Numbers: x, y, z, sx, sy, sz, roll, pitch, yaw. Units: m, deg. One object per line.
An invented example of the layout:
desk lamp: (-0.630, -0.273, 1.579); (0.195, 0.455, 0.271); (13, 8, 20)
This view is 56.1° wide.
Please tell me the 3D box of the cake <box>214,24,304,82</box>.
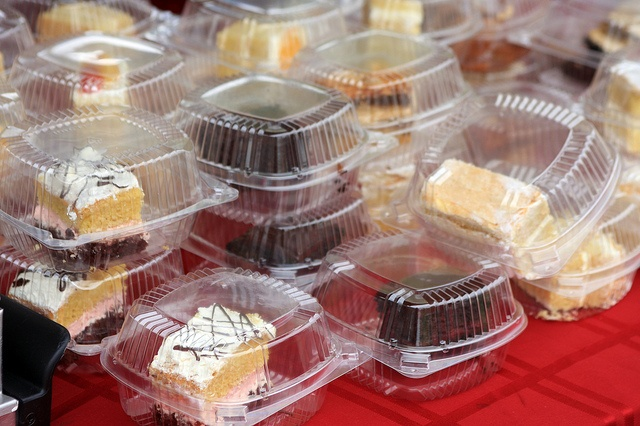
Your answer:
cake: (-0.242, -0.639, 2.311); (0.287, 0.204, 0.221); (9, 27, 22)

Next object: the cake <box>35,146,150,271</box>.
cake: (-0.608, -0.026, 1.588); (0.306, 0.186, 0.243); (11, 13, 32)

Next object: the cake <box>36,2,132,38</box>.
cake: (-0.945, -0.786, 2.418); (0.276, 0.143, 0.265); (14, 23, 31)

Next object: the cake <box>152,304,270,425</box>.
cake: (-0.245, 0.333, 1.417); (0.261, 0.113, 0.189); (12, 39, 16)

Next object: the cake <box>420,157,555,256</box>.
cake: (0.464, -0.026, 1.674); (0.320, 0.091, 0.189); (19, 53, 26)

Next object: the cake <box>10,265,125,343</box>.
cake: (-0.656, 0.205, 1.579); (0.192, 0.171, 0.248); (15, 26, 18)
